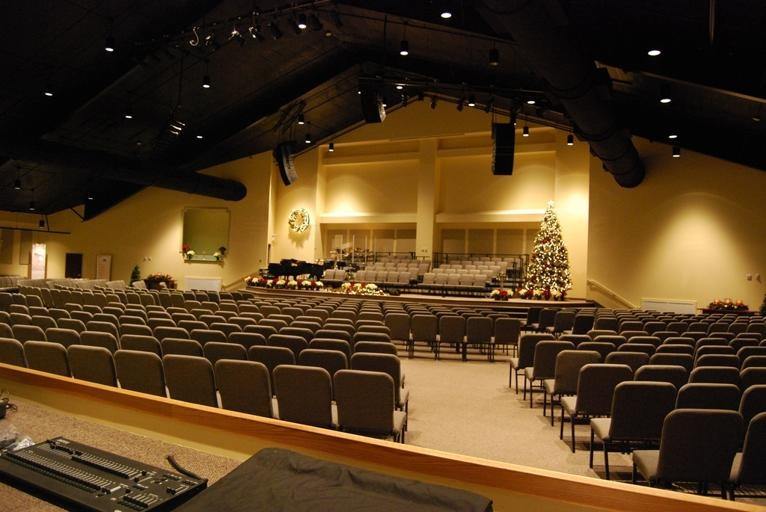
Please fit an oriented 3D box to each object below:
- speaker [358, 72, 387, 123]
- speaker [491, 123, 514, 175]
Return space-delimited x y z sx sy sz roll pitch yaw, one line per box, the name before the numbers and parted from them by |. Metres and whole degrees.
speaker | -0.299 -4.612 15.485 0.674 1.467 1.998 -4 34 5
speaker | 3.396 -3.072 15.427 0.579 1.465 1.647 2 14 10
